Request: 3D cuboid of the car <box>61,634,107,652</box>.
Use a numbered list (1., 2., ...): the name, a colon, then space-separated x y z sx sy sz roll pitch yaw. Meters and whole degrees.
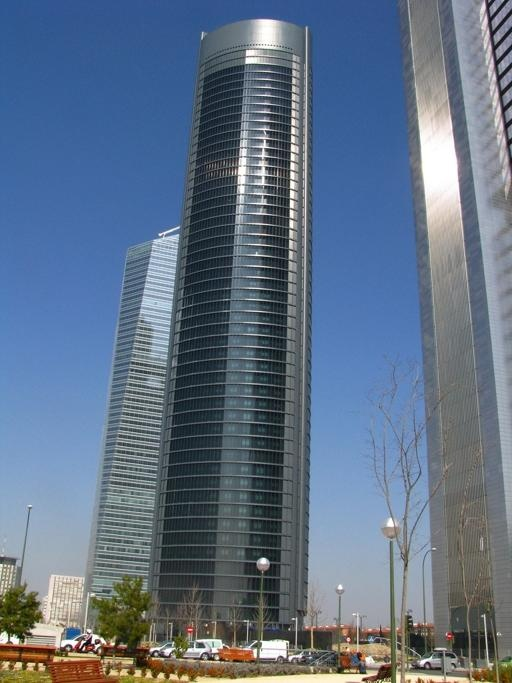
1. car: -15.413 26.593 55.472 3.530 1.444 5.106 8 -24 -14
